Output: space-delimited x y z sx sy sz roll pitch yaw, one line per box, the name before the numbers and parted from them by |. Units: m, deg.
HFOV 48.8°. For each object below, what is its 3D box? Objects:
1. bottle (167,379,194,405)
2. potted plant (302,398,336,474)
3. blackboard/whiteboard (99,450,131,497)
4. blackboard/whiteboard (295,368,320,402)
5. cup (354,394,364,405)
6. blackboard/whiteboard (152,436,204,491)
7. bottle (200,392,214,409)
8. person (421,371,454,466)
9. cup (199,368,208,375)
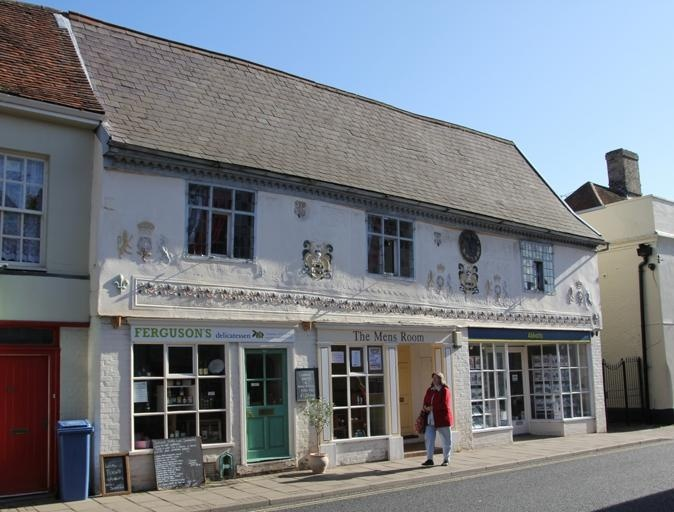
bottle | -3.561 3.063 16.707 0.495 0.494 0.259 6 -12 -35
potted plant | -0.449 4.296 17.740 0.686 1.720 1.074 -2 -13 -1
blackboard/whiteboard | -4.720 4.628 15.693 0.791 1.188 0.089 5 -18 -33
blackboard/whiteboard | -0.741 3.147 18.180 0.669 0.811 0.122 8 -16 -39
cup | 0.585 3.681 19.066 0.221 0.168 0.220 0 -5 0
blackboard/whiteboard | -3.538 4.571 16.245 0.984 1.083 0.107 4 -19 -32
bottle | -3.001 3.304 16.975 0.337 0.353 0.160 7 -8 -33
person | 2.445 4.028 18.468 0.753 2.287 0.734 -4 -12 6
cup | -3.067 2.653 17.023 0.120 0.164 0.228 -9 -12 39
